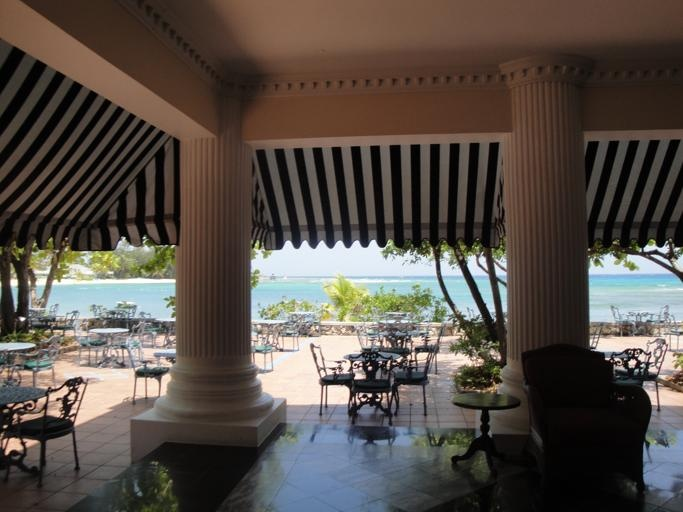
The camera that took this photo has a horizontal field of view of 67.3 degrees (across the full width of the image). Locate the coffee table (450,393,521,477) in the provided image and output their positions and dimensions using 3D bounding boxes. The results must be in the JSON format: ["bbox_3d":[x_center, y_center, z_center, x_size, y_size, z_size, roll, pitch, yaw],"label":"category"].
[{"bbox_3d":[1.570,1.971,5.755,0.784,0.636,0.727,6,-20,5],"label":"coffee table"}]

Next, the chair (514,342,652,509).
[{"bbox_3d":[2.523,1.674,5.393,1.135,1.365,0.938,0,-3,3],"label":"chair"}]
